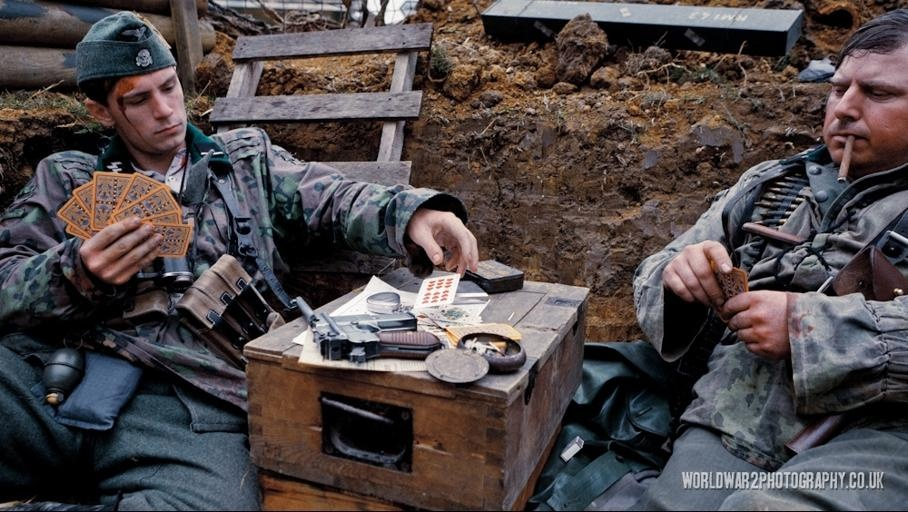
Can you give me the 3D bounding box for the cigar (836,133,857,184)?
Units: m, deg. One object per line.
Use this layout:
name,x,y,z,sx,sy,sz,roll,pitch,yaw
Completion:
cigar,2.572,-0.635,4.364,0.078,0.319,0.073,13,-2,34

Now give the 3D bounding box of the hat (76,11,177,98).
hat,-2.437,-1.400,4.802,0.630,0.340,0.631,-3,15,45
